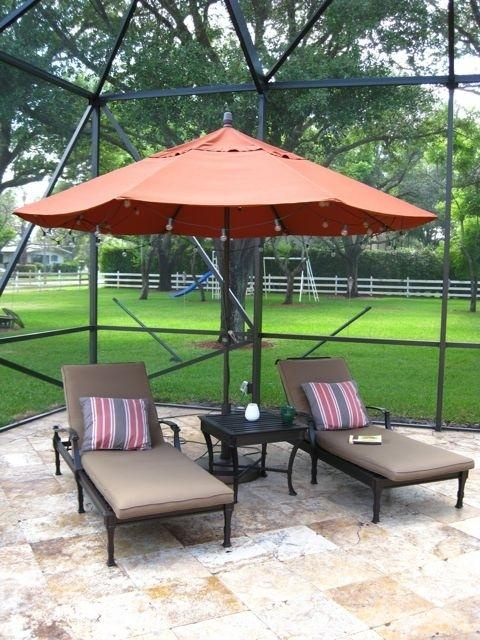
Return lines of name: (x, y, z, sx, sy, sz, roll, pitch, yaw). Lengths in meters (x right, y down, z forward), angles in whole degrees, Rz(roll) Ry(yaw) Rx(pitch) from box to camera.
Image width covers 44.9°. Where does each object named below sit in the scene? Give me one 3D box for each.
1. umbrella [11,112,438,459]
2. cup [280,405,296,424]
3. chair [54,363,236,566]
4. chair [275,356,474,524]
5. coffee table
umbrella: (-0.075, -0.421, 4.076, 2.499, 2.235, 2.639, 2, 3, 13)
cup: (0.326, 0.672, 4.122, 0.124, 0.122, 0.118, 0, -2, 0)
chair: (-0.723, 0.780, 3.667, 0.741, 0.719, 1.568, -2, 5, -24)
chair: (0.796, 0.760, 4.315, 0.920, 0.862, 1.502, -3, 5, -24)
coffee table: (0.062, 0.956, 4.140, 0.803, 0.458, 0.779, 2, -3, 40)
